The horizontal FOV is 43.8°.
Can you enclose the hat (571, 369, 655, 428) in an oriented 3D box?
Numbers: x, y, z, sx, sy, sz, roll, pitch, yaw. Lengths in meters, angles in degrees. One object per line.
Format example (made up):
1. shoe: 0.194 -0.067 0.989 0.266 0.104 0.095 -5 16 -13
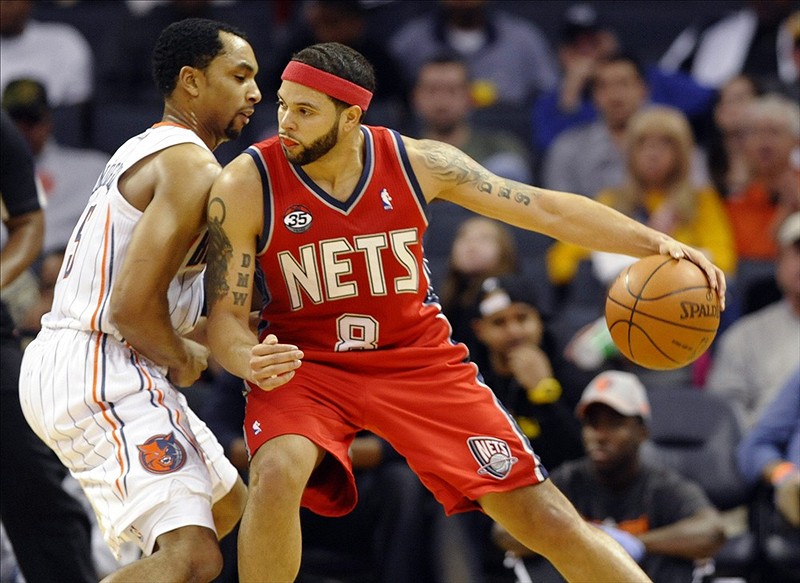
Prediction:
1. hat: 1.377 0.703 6.437 0.446 0.332 0.377 7 20 11
